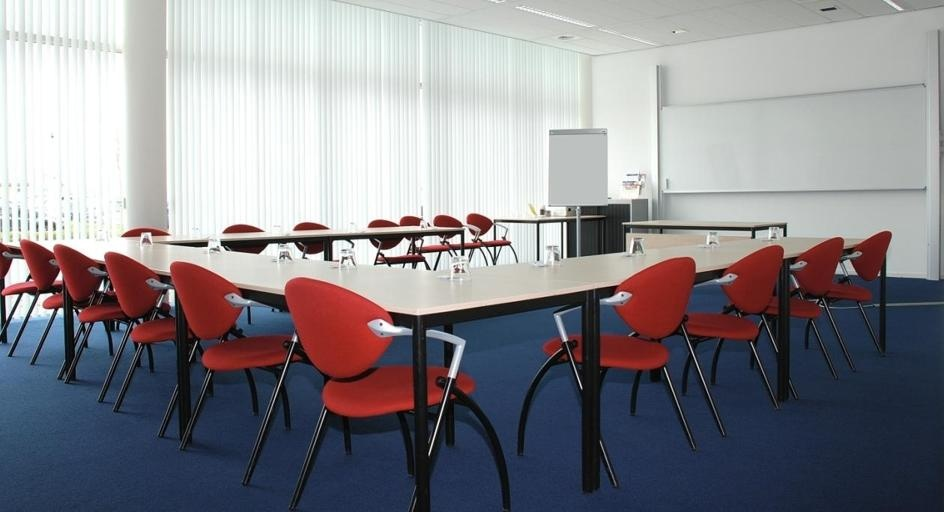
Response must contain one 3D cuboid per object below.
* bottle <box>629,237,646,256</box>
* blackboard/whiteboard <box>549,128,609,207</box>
[{"bbox_3d":[1.656,-0.103,6.468,0.167,0.176,0.205,-1,-2,39],"label":"bottle"},{"bbox_3d":[1.592,-1.508,10.919,1.223,1.271,0.963,-3,7,-14],"label":"blackboard/whiteboard"}]
